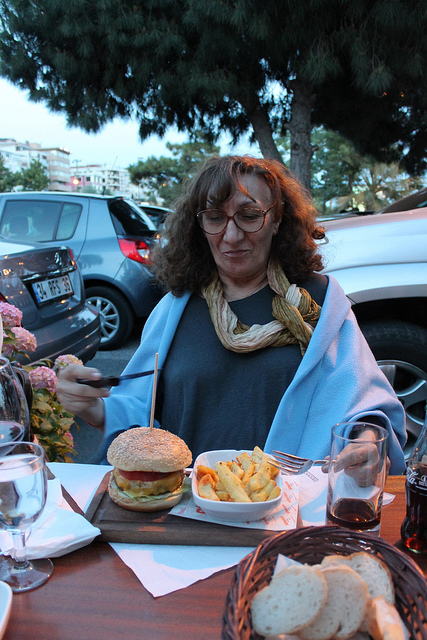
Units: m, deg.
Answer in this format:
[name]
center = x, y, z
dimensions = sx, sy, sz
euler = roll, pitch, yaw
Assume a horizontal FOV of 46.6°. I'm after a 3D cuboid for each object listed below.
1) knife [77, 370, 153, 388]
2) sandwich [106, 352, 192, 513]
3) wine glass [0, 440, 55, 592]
[knife]
center = -0.320, 0.198, 1.648
dimensions = 0.061, 0.042, 0.426
euler = 7, -16, -44
[sandwich]
center = -0.161, 0.308, 1.296
dimensions = 0.216, 0.341, 0.234
euler = 8, 7, 27
[wine glass]
center = -0.387, 0.381, 1.017
dimensions = 0.101, 0.230, 0.269
euler = -3, 9, -21
